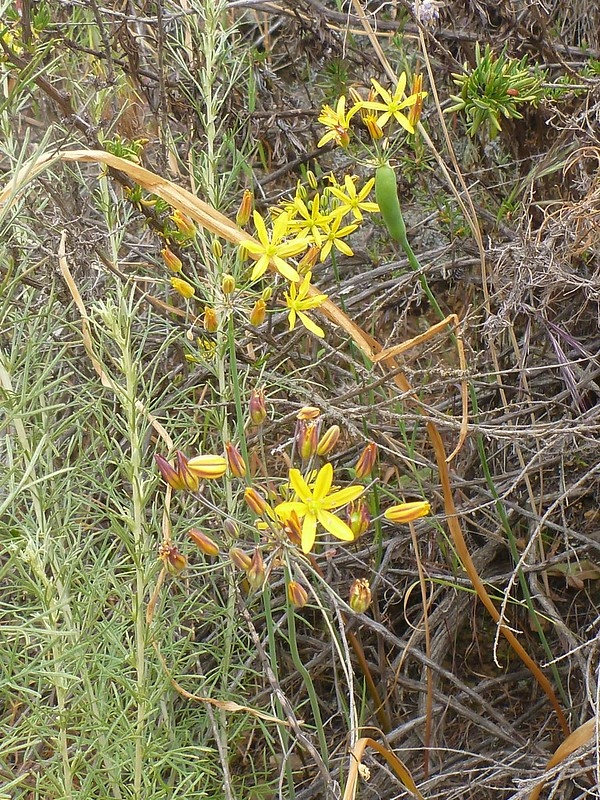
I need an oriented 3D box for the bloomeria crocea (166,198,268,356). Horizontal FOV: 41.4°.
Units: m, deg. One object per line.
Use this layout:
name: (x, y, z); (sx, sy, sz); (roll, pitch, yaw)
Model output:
bloomeria crocea: (-0.143, -0.257, 1.628); (0.189, 0.090, 0.288); (-41, 60, 22)
